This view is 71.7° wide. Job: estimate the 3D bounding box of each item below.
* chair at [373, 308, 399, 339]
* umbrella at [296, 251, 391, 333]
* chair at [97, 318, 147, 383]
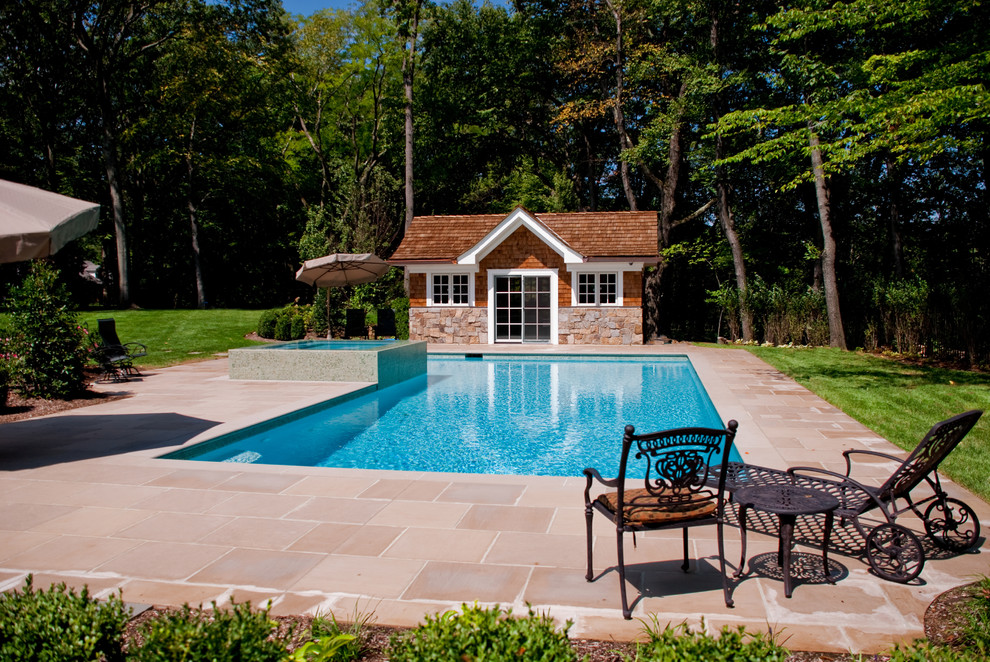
[{"bbox_3d":[-3.827,-0.262,24.249,0.954,1.367,0.957,0,1,-2],"label":"chair"},{"bbox_3d":[-4.488,-0.930,20.771,2.587,2.161,2.301,-14,-22,27],"label":"umbrella"},{"bbox_3d":[-8.769,0.482,16.262,0.992,1.452,0.925,5,8,16],"label":"chair"}]
